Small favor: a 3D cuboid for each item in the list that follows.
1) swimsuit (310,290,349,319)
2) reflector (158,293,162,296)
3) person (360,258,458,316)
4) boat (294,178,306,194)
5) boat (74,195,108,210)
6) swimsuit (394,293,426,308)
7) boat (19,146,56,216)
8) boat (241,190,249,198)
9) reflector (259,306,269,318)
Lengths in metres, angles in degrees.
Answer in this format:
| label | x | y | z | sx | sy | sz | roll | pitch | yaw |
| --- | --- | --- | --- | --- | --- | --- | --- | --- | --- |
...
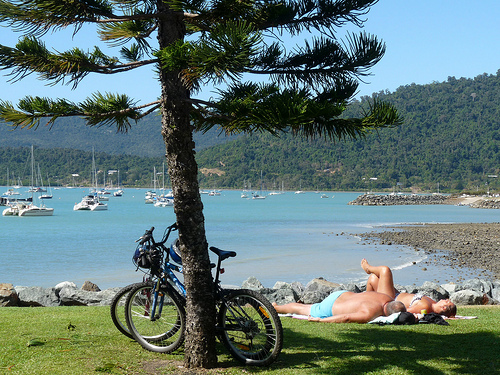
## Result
| label | x | y | z | sx | sy | sz | roll | pitch | yaw |
| --- | --- | --- | --- | --- | --- | --- | --- | --- | --- |
| swimsuit | 1.702 | 2.512 | 18.517 | 0.768 | 0.475 | 0.297 | -23 | -40 | 21 |
| reflector | -1.746 | 2.078 | 16.975 | 0.071 | 0.068 | 0.066 | 0 | -12 | -4 |
| person | 3.545 | 2.327 | 18.797 | 1.732 | 0.627 | 1.272 | 22 | 12 | 14 |
| boat | 14.221 | -0.376 | 233.136 | 2.529 | 3.759 | 10.084 | 1 | 4 | 4 |
| boat | -18.646 | 1.526 | 102.525 | 2.454 | 1.272 | 4.154 | -1 | -5 | 7 |
| swimsuit | 3.635 | 2.396 | 18.769 | 0.162 | 0.333 | 0.349 | 36 | -8 | -41 |
| boat | -20.944 | 0.490 | 83.998 | 2.993 | 3.804 | 0.877 | -1 | 9 | -19 |
| boat | -0.794 | 1.469 | 207.562 | 2.370 | 1.126 | 2.993 | 0 | 2 | -2 |
| reflector | 0.300 | 2.330 | 16.381 | 0.091 | 0.320 | 0.081 | -19 | -32 | -39 |
